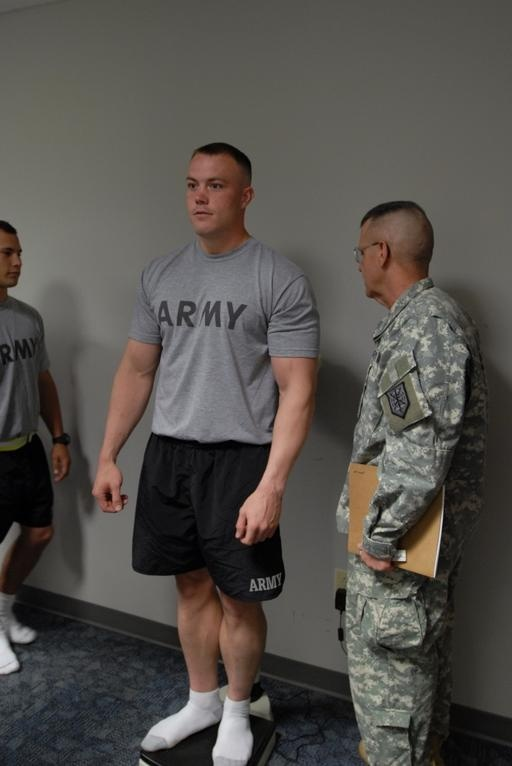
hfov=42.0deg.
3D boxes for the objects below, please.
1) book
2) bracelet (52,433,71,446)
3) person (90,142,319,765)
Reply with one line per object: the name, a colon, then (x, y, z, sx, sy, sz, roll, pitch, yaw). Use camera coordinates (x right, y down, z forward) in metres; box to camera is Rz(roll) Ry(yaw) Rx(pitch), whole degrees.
book: (0.321, 0.339, 1.559, 0.217, 0.259, 0.187, 1, 10, 10)
bracelet: (-0.784, 0.233, 2.690, 0.067, 0.032, 0.049, -2, -2, 19)
person: (-0.148, 0.213, 1.880, 0.460, 1.725, 0.614, -9, 14, -37)
